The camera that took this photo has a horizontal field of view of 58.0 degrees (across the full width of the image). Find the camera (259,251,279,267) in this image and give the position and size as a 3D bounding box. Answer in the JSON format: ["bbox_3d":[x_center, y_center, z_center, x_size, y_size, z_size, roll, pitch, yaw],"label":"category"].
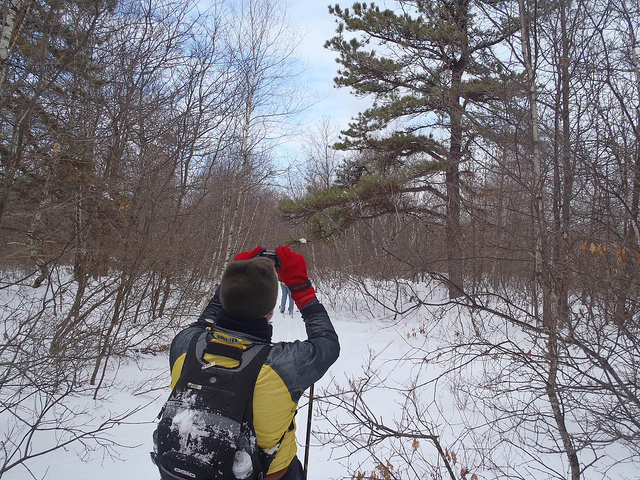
[{"bbox_3d":[-0.513,0.176,5.823,0.140,0.167,0.054,-1,6,5],"label":"camera"}]
